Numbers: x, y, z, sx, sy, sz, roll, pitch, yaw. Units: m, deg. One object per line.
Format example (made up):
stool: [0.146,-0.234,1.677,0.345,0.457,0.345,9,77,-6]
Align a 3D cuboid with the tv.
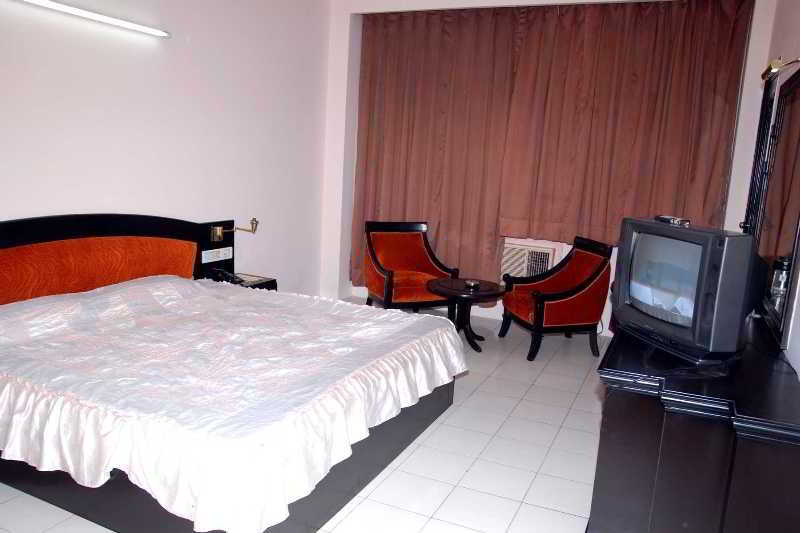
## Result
tv: [1.606,0.161,2.805,0.462,0.662,0.706,-10,17,-27]

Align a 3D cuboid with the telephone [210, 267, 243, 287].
telephone: [-1.736,0.101,4.908,0.240,0.117,0.237,15,-1,-27]

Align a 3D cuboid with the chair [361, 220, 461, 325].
chair: [0.056,0.018,6.135,1.148,1.493,1.189,-1,3,-23]

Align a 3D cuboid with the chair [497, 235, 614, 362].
chair: [1.723,0.342,5.951,1.309,1.684,1.331,-1,9,-15]
